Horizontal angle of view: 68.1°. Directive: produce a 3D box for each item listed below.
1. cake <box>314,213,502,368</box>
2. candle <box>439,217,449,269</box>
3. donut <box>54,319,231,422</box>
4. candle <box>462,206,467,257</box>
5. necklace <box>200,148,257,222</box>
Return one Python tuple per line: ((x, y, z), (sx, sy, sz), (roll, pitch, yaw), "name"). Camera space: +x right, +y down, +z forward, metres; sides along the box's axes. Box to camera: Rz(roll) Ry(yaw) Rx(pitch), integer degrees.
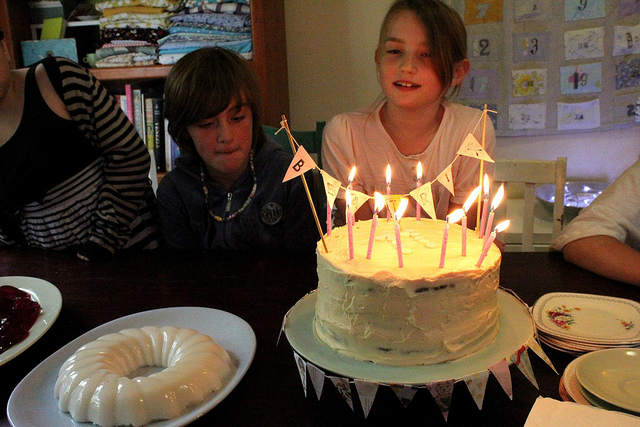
((0.246, 0.196, 1.348), (0.505, 0.257, 0.487), (-14, 19, -39), "cake")
((0.306, 0.077, 1.169), (0.013, 0.098, 0.076), (4, 17, 18), "candle")
((-0.434, 0.395, 1.171), (0.394, 0.130, 0.248), (3, 17, 15), "donut")
((0.373, 0.045, 1.216), (0.013, 0.117, 0.066), (4, 17, 17), "candle")
((-0.371, -0.109, 1.904), (0.181, 0.296, 0.023), (0, 2, -1), "necklace")
